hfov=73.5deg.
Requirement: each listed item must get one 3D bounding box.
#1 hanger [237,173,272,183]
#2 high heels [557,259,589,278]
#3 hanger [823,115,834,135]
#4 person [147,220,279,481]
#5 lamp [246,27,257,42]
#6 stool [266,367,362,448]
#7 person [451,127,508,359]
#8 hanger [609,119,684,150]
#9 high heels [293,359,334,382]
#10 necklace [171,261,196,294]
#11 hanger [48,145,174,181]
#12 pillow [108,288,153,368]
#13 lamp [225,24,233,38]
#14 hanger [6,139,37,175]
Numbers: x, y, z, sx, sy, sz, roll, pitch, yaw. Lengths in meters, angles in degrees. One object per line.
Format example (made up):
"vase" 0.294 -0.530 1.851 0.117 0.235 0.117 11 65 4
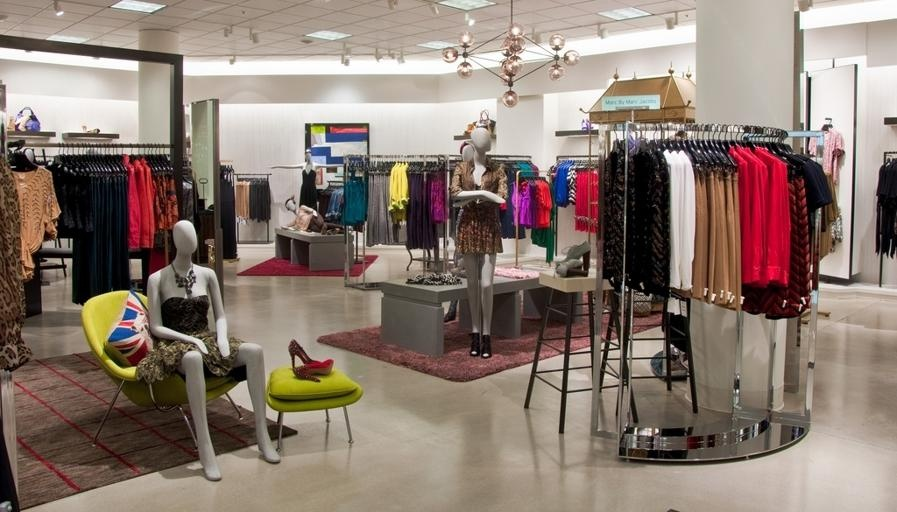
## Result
"hanger" -5.306 -2.097 16.263 0.992 0.217 0.342 3 16 9
"high heels" 1.190 0.121 5.605 0.374 0.132 0.210 -11 19 -36
"hanger" 6.558 -2.241 10.346 0.179 0.242 0.314 10 18 31
"person" -2.091 0.732 5.025 1.089 1.921 0.863 14 21 43
"lamp" -3.925 -4.476 12.198 0.146 0.272 0.428 -5 16 -19
"stool" -1.177 1.183 5.139 0.685 0.478 0.721 -2 7 -17
"person" 0.334 -0.162 7.035 0.631 2.586 0.752 3 15 9
"hanger" 1.687 -1.026 5.151 0.753 0.235 0.404 -7 17 -26
"high heels" -1.184 0.999 5.262 0.314 0.107 0.181 6 7 11
"necklace" -2.265 0.205 5.176 0.158 0.292 0.106 4 -6 -33
"hanger" -4.329 -1.187 7.797 1.096 0.434 0.744 -2 3 -27
"pillow" -2.726 0.635 5.209 0.351 0.546 0.381 1 15 5
"lamp" -4.551 -4.601 12.351 0.187 0.251 0.187 1 25 -10
"hanger" -5.244 -1.229 7.392 0.261 0.275 1.299 -11 19 -34
